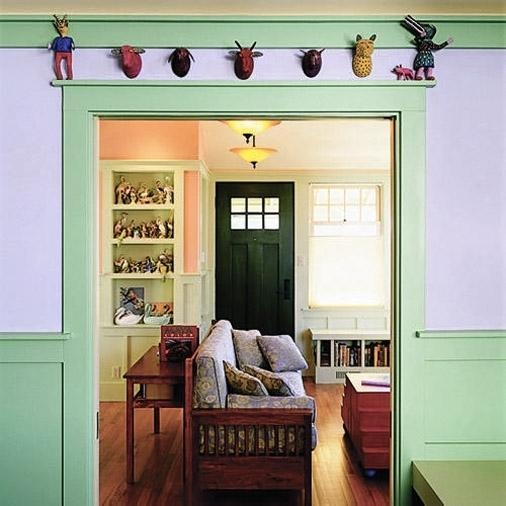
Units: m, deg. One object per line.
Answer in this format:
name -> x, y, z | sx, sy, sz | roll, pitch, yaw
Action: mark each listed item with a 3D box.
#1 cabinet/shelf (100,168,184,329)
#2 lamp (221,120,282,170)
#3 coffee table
cabinet/shelf -> -0.931, -0.076, 5.306 | 0.674, 1.127, 0.346 | 0, 0, -12
lamp -> -0.013, -0.813, 4.430 | 0.388, 0.402, 0.397 | 4, 5, 35
coffee table -> 0.718, 1.089, 3.967 | 0.216, 0.378, 0.783 | 1, -2, 3
